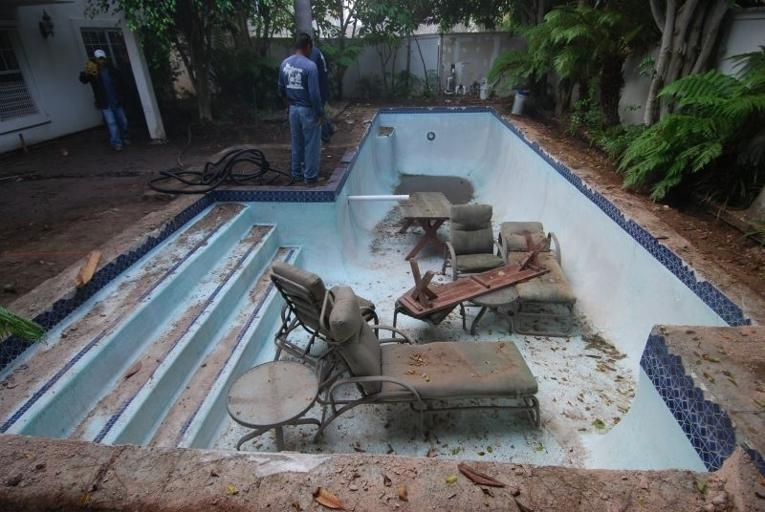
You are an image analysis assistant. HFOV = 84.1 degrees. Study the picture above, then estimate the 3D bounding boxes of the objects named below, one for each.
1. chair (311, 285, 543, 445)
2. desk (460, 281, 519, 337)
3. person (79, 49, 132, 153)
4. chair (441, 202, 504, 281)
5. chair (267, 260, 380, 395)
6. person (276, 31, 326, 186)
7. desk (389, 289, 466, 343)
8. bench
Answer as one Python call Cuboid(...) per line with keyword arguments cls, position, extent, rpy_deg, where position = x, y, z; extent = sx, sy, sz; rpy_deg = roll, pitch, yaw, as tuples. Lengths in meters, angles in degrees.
Cuboid(cls="chair", position=(0.333, 1.048, 5.146), extent=(2.655, 1.417, 1.457), rpy_deg=(-5, 30, -1))
Cuboid(cls="desk", position=(1.606, 0.668, 6.302), extent=(0.730, 0.521, 0.693), rpy_deg=(-8, 31, -6))
Cuboid(cls="person", position=(-6.369, -3.625, 9.832), extent=(0.709, 2.056, 1.048), rpy_deg=(-19, 34, -27))
Cuboid(cls="chair", position=(1.528, -0.131, 6.991), extent=(0.996, 1.235, 1.018), rpy_deg=(-5, 22, -10))
Cuboid(cls="chair", position=(-0.707, 0.843, 5.533), extent=(1.271, 1.680, 1.085), rpy_deg=(-14, 28, -36))
Cuboid(cls="person", position=(-1.437, -2.599, 7.537), extent=(0.719, 2.397, 1.147), rpy_deg=(-8, 30, -9))
Cuboid(cls="desk", position=(0.570, 0.634, 6.014), extent=(0.918, 0.566, 0.693), rpy_deg=(-9, 20, -30))
Cuboid(cls="bench", position=(1.497, 0.291, 6.598), extent=(2.667, 0.612, 0.621), rpy_deg=(-16, 33, -14))
